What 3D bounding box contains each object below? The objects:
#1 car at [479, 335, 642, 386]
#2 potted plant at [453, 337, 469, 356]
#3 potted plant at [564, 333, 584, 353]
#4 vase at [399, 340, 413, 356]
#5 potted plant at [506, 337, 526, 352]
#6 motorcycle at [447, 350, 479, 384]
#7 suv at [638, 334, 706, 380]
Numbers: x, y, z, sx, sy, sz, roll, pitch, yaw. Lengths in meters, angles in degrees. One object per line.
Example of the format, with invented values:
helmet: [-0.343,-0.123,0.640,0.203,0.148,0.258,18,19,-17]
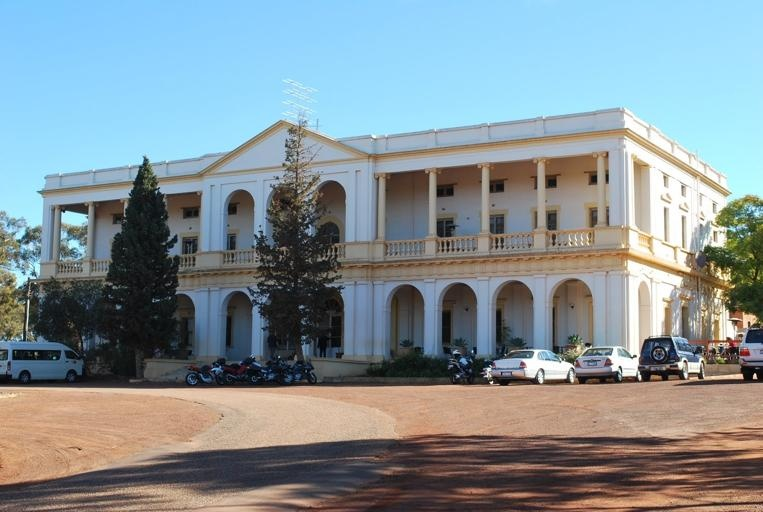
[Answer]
car: [7.923,4.849,39.192,5.832,1.530,2.506,-2,-5,-14]
potted plant: [4.470,4.952,49.955,0.820,0.907,0.801,0,-1,-40]
potted plant: [9.721,4.485,45.910,0.877,1.154,0.947,2,-23,3]
vase: [1.363,5.204,51.502,0.684,0.782,0.774,1,-7,11]
potted plant: [7.310,4.745,48.532,0.784,0.690,0.766,1,-2,-15]
motorcycle: [3.778,5.247,42.548,1.173,1.648,2.094,-1,-11,7]
suv: [12.688,4.438,39.642,1.723,1.770,4.257,-3,-5,41]
